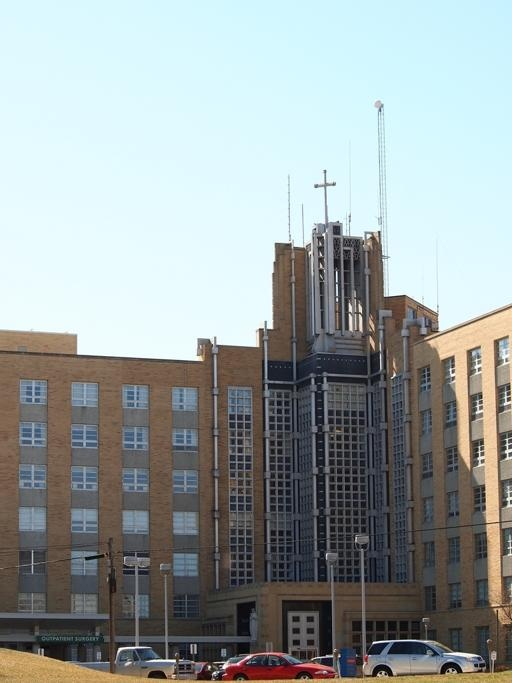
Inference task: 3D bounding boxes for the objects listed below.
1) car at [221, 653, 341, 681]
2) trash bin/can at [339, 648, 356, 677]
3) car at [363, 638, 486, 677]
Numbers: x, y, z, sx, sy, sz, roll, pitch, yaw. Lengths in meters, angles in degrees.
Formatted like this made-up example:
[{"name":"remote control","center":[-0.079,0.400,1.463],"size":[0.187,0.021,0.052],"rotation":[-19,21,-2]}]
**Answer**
[{"name":"car","center":[0.745,14.478,81.751],"size":[4.933,1.230,2.555],"rotation":[-4,-11,7]},{"name":"trash bin/can","center":[3.865,14.147,80.691],"size":[0.637,1.201,1.259],"rotation":[-3,-10,6]},{"name":"car","center":[6.901,13.715,79.860],"size":[4.825,1.557,2.201],"rotation":[-5,-11,10]}]
